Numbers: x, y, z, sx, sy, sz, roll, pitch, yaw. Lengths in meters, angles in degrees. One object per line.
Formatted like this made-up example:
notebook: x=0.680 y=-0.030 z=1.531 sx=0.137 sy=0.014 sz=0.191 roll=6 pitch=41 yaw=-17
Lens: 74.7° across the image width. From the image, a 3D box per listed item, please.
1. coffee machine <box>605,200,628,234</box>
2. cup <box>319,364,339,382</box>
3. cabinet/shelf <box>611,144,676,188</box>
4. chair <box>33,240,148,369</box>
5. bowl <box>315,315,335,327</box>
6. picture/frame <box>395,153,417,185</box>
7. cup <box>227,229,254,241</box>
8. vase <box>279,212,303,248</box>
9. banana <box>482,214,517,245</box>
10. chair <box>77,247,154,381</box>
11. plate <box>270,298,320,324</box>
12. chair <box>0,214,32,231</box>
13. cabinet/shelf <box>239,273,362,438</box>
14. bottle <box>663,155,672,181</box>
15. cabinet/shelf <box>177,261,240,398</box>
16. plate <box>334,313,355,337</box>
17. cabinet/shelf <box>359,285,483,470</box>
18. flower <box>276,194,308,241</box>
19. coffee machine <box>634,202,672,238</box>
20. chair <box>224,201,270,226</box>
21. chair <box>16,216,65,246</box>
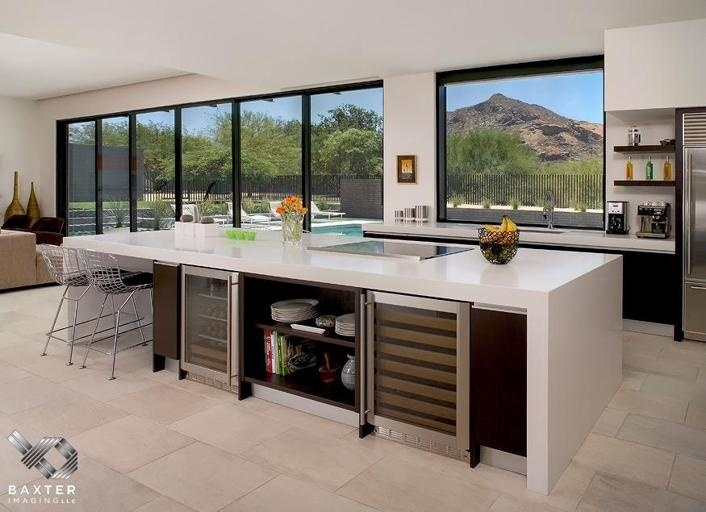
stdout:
coffee machine: x=3.050 y=-0.447 z=5.251 sx=0.243 sy=0.359 sz=0.291 roll=6 pitch=12 yaw=31
cup: x=-0.177 y=0.856 z=3.333 sx=0.135 sy=0.094 sz=0.101 roll=1 pitch=11 yaw=5
cabinet/shelf: x=3.304 y=-1.009 z=5.140 sx=0.532 sy=0.476 sz=0.194 roll=3 pitch=7 yaw=34
chair: x=-2.585 y=0.522 z=4.502 sx=0.649 sy=1.070 sz=0.755 roll=9 pitch=-17 yaw=17
bowl: x=-0.201 y=0.461 z=3.320 sx=0.147 sy=0.067 sz=0.185 roll=-1 pitch=11 yaw=-4
picture/frame: x=0.776 y=-1.261 z=6.592 sx=0.419 sy=0.599 sz=0.027 roll=1 pitch=1 yaw=32
cup: x=-1.097 y=-0.210 z=4.406 sx=0.150 sy=0.096 sz=0.357 roll=-10 pitch=15 yaw=-44
vase: x=-0.558 y=-0.256 z=4.089 sx=0.215 sy=0.342 sz=0.236 roll=1 pitch=5 yaw=-18
banana: x=0.965 y=-0.177 z=3.020 sx=0.162 sy=0.145 sz=0.214 roll=1 pitch=0 yaw=-10
chair: x=-2.273 y=0.424 z=4.357 sx=0.647 sy=1.025 sz=0.998 roll=-6 pitch=12 yaw=-28
plate: x=-0.443 y=0.414 z=3.476 sx=0.358 sy=0.127 sz=0.316 roll=-3 pitch=11 yaw=-17
chair: x=-6.709 y=-0.660 z=9.083 sx=0.448 sy=0.478 sz=0.477 roll=1 pitch=-1 yaw=31
cabinet/shelf: x=-0.396 y=0.738 z=3.277 sx=0.958 sy=0.959 sz=0.505 roll=1 pitch=0 yaw=29
bottle: x=3.480 y=-0.962 z=5.043 sx=0.093 sy=0.254 sz=0.256 roll=7 pitch=12 yaw=33
cabinet/shelf: x=-1.135 y=0.523 z=3.582 sx=0.694 sy=0.852 sz=0.192 roll=8 pitch=13 yaw=39
plate: x=-0.056 y=0.462 z=3.134 sx=0.134 sy=0.062 sz=0.139 roll=0 pitch=1 yaw=-11
cabinet/shelf: x=0.421 y=0.703 z=3.181 sx=0.814 sy=1.259 sz=0.872 roll=3 pitch=3 yaw=25
flower: x=-0.537 y=-0.310 z=4.079 sx=0.268 sy=0.418 sz=0.297 roll=-1 pitch=3 yaw=16
coffee machine: x=3.337 y=-0.400 z=5.073 sx=0.303 sy=0.397 sz=0.299 roll=4 pitch=6 yaw=34
chair: x=-1.820 y=-0.738 z=7.906 sx=0.729 sy=0.471 sz=0.398 roll=2 pitch=5 yaw=32
chair: x=-5.603 y=-0.447 z=8.143 sx=0.595 sy=0.782 sz=0.645 roll=-4 pitch=7 yaw=-39
